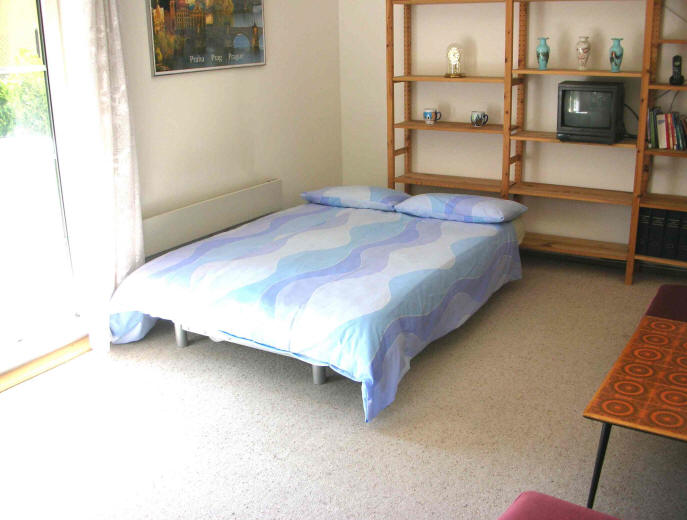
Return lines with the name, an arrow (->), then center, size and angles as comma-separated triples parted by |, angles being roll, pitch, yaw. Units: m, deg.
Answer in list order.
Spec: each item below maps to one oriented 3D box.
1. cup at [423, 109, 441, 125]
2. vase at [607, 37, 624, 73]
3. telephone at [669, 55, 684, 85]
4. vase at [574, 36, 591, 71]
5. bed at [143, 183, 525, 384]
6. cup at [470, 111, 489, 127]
cup -> 0.748, -1.219, 4.697 | 0.120, 0.116, 0.159 | 9, 15, 41
vase -> 1.976, -1.479, 3.956 | 0.104, 0.228, 0.366 | 9, 23, 23
telephone -> 2.290, -1.293, 3.738 | 0.094, 0.185, 0.185 | 11, 24, 28
vase -> 1.792, -1.547, 4.092 | 0.120, 0.233, 0.286 | 8, 23, 22
bed -> 0.047, 0.337, 4.341 | 1.782, 0.771, 1.719 | 11, 23, 29
cup -> 1.140, -1.167, 4.520 | 0.157, 0.122, 0.121 | 11, 23, 27
